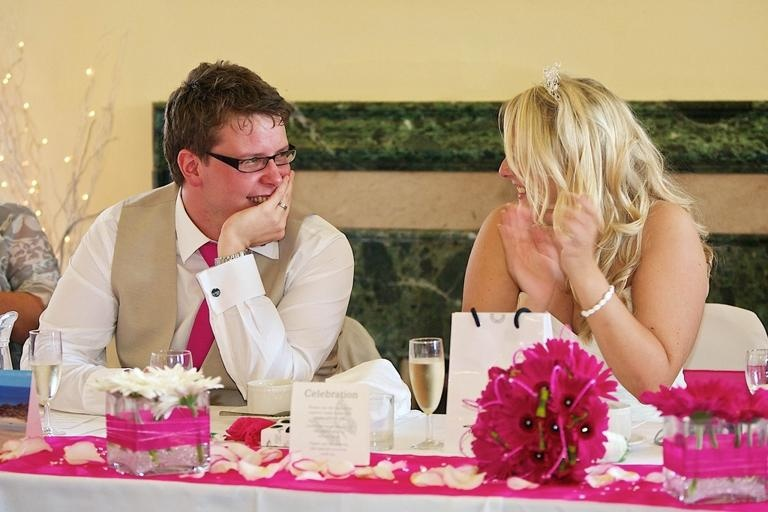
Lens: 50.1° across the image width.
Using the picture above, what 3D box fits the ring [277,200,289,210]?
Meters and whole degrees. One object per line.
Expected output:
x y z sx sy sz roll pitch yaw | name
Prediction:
-0.338 -0.172 2.811 0.027 0.027 0.008 10 -33 -28 | ring

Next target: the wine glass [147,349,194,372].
-0.565 0.267 2.129 0.071 0.072 0.074 0 -1 6 | wine glass

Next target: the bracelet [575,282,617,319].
0.616 0.127 2.376 0.020 0.086 0.090 38 -44 -1 | bracelet

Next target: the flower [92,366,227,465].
-0.549 0.374 2.078 0.244 0.213 0.253 0 -2 6 | flower

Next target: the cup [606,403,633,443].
0.611 0.436 2.152 0.080 0.085 0.108 -1 -4 0 | cup

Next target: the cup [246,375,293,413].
-0.321 0.379 2.289 0.106 0.083 0.110 1 -2 0 | cup

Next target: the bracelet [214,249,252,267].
-0.491 -0.001 2.674 0.113 0.061 0.127 1 -7 -13 | bracelet

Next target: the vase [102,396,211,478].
-0.549 0.406 1.979 0.204 0.201 0.200 4 -8 -36 | vase
